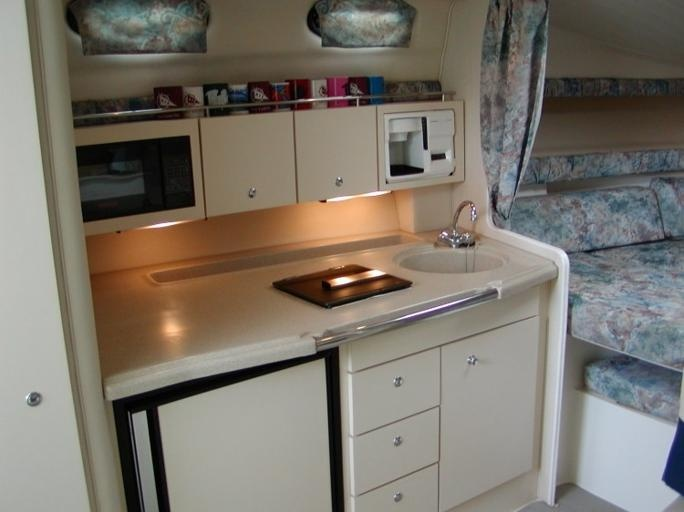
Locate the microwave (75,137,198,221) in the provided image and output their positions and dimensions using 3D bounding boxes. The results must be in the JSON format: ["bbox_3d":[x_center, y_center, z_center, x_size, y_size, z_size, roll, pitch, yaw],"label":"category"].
[{"bbox_3d":[-0.719,-0.270,1.864,0.481,0.334,0.258,-9,13,-35],"label":"microwave"}]

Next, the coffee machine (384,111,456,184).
[{"bbox_3d":[0.359,-0.506,2.435,0.289,0.263,0.160,-6,9,-22],"label":"coffee machine"}]

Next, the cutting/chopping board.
[{"bbox_3d":[0.000,0.107,2.041,0.454,0.052,0.348,-13,17,-30],"label":"cutting/chopping board"}]
